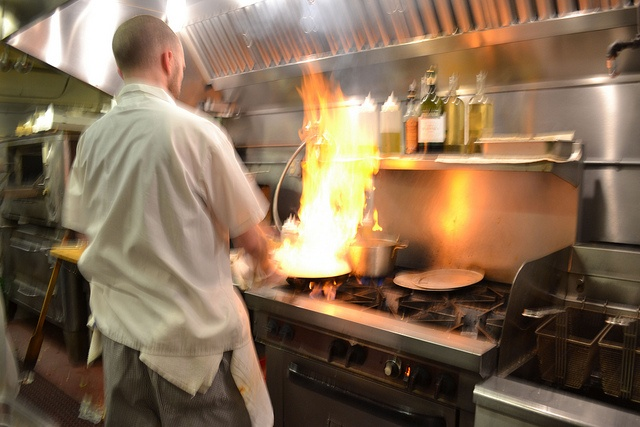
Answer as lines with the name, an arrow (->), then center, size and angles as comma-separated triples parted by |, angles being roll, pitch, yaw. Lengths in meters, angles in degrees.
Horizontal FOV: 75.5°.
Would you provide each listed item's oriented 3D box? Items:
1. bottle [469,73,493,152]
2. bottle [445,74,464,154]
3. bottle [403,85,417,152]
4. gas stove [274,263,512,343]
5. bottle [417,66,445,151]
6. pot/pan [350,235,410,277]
bottle -> 0.832, -0.525, 2.162 | 0.120, 0.415, 0.291 | 2, 7, 20
bottle -> 0.680, -0.451, 2.104 | 0.097, 0.283, 0.069 | 2, 7, 17
bottle -> 0.510, -0.555, 2.355 | 0.077, 0.438, 0.378 | 1, 7, 12
gas stove -> 0.514, 0.441, 2.172 | 0.836, 0.114, 0.573 | 3, 8, 29
bottle -> 0.583, -0.537, 2.162 | 0.138, 0.438, 0.226 | 1, 7, 16
pot/pan -> 0.322, 0.178, 2.410 | 0.307, 0.159, 0.204 | 5, 10, 33
